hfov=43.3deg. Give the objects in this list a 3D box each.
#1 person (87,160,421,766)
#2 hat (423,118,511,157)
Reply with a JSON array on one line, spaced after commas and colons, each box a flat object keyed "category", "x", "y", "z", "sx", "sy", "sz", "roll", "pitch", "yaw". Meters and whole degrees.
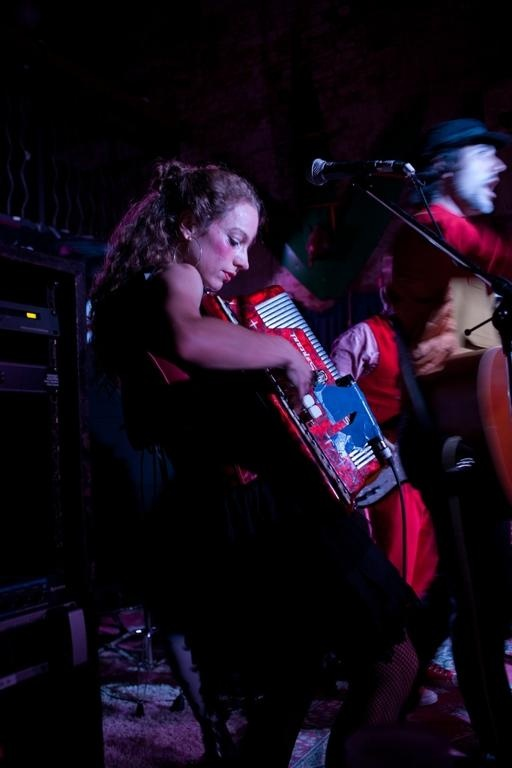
[{"category": "person", "x": -0.020, "y": 0.172, "z": 1.532, "sx": 0.666, "sy": 1.395, "sz": 0.376, "roll": -10, "pitch": 0, "yaw": 17}, {"category": "hat", "x": 0.932, "y": -1.094, "z": 2.833, "sx": 0.271, "sy": 0.085, "sz": 0.176, "roll": -10, "pitch": 2, "yaw": 13}]
